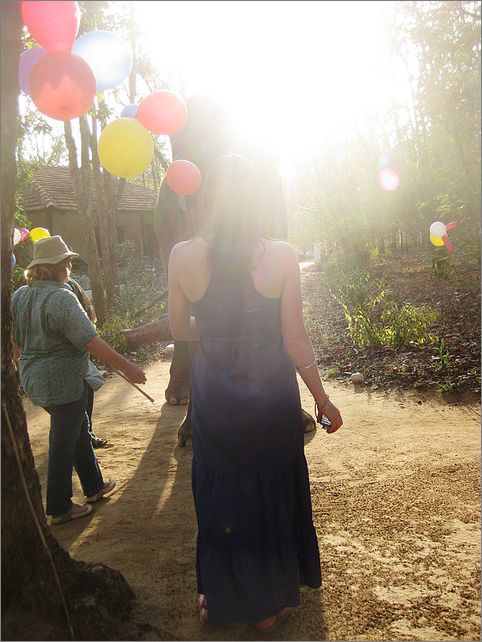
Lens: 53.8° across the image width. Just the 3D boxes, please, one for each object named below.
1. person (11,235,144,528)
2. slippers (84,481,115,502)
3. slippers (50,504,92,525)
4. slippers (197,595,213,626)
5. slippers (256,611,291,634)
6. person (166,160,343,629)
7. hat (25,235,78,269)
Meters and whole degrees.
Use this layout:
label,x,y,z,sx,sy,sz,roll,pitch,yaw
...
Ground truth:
label,x,y,z,sx,sy,sz,roll,pitch,yaw
person,-0.937,0.357,2.578,0.792,1.637,0.352,-1,3,37
slippers,-0.914,1.076,3.051,0.057,0.091,0.195,4,27,25
slippers,-0.990,1.118,2.732,0.193,0.099,0.075,-13,12,-36
slippers,-0.145,1.096,1.801,0.030,0.126,0.078,-6,-7,0
slippers,0.117,1.088,1.756,0.049,0.050,0.128,3,4,37
person,0.071,0.252,1.807,0.446,1.640,0.484,-1,9,4
hat,-1.099,-0.376,2.681,0.185,0.120,0.174,-21,2,45
